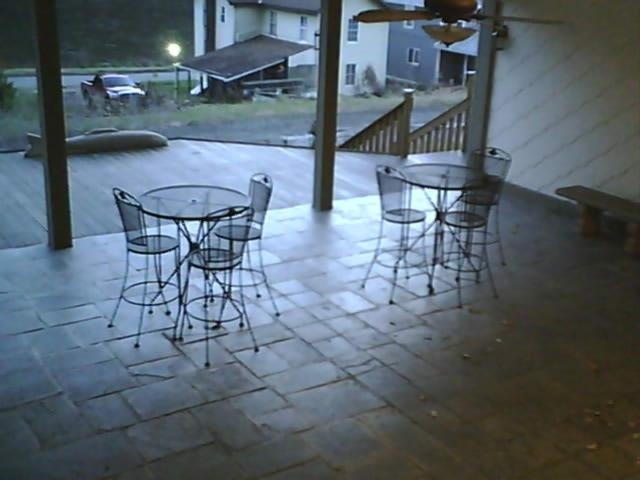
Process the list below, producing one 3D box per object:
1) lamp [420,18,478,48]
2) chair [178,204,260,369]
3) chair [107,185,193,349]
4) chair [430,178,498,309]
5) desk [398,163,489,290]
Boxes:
[{"bbox_3d":[0.939,-1.469,3.923,0.284,0.136,0.277,-5,18,-19],"label":"lamp"},{"bbox_3d":[-0.899,0.439,4.886,0.730,1.425,0.777,-15,34,-35],"label":"chair"},{"bbox_3d":[-1.587,0.301,5.137,0.837,1.609,0.743,-11,42,-37],"label":"chair"},{"bbox_3d":[1.551,0.075,5.944,0.584,1.247,0.637,-8,43,-1],"label":"chair"},{"bbox_3d":[1.373,-0.111,6.110,1.039,1.216,1.080,-22,31,-37],"label":"desk"}]
